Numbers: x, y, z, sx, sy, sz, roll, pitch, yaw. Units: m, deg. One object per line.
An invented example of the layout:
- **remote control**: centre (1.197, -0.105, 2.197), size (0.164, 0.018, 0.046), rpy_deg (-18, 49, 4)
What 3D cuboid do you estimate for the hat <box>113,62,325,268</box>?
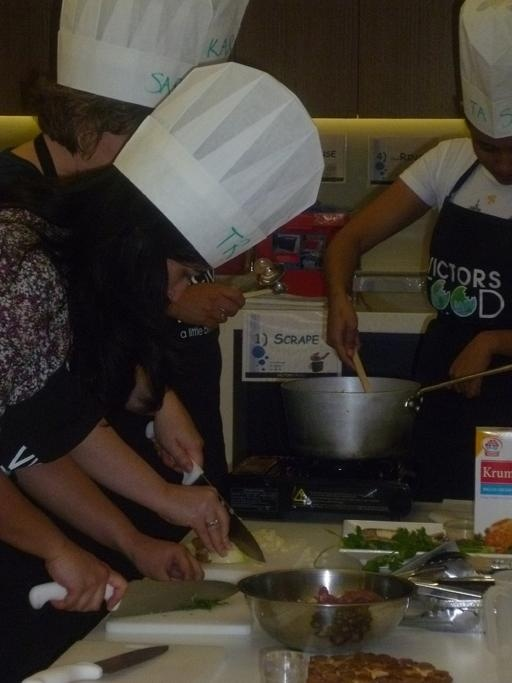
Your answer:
- **hat**: centre (-0.054, -0.203, 0.811), size (0.229, 0.225, 0.128), rpy_deg (-37, 46, -24)
